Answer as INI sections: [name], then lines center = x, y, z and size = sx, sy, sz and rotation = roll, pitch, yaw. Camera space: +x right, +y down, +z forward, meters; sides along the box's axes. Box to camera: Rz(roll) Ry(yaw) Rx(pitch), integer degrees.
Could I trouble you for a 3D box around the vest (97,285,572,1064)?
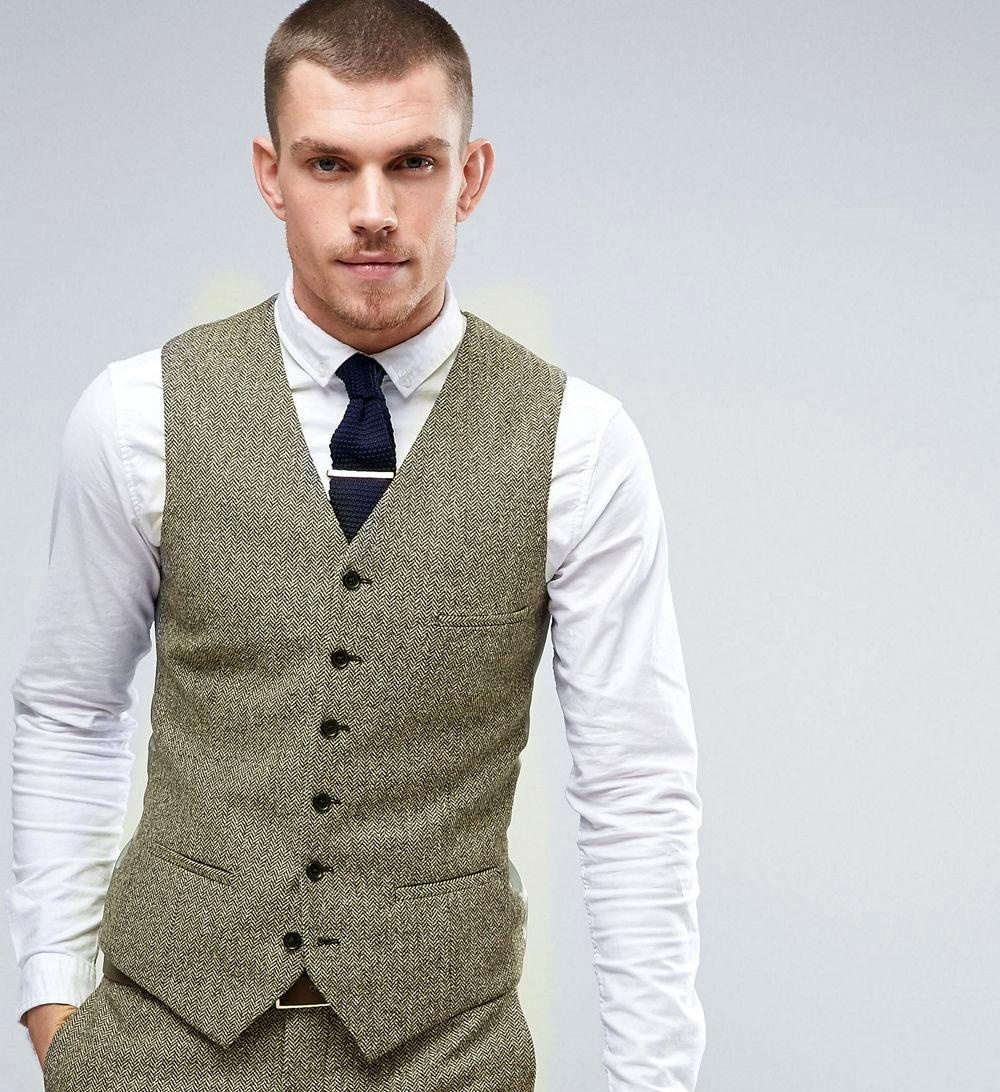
[vest]
center = -0.170, 0.134, 2.224
size = 0.489, 0.821, 0.178
rotation = 0, -6, -17
